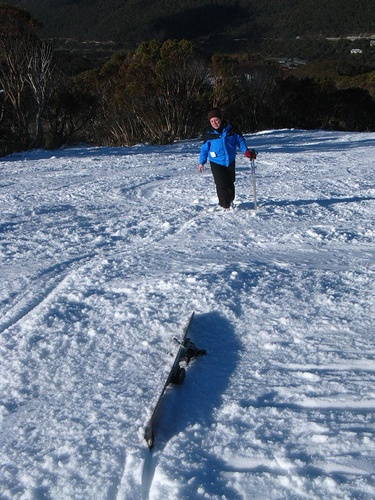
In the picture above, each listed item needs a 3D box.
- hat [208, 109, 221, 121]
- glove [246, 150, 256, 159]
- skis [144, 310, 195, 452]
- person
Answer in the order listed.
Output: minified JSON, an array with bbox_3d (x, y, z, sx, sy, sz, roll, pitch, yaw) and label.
[{"bbox_3d":[0.338,-1.714,6.392,0.154,0.125,0.215,0,17,2],"label":"hat"},{"bbox_3d":[0.789,-1.211,6.385,0.133,0.111,0.244,1,17,5],"label":"glove"},{"bbox_3d":[-0.102,0.754,2.996,0.096,0.156,0.867,43,31,-3],"label":"skis"},{"bbox_3d":[0.463,-1.179,6.662,0.601,1.287,0.390,0,18,2],"label":"person"}]
